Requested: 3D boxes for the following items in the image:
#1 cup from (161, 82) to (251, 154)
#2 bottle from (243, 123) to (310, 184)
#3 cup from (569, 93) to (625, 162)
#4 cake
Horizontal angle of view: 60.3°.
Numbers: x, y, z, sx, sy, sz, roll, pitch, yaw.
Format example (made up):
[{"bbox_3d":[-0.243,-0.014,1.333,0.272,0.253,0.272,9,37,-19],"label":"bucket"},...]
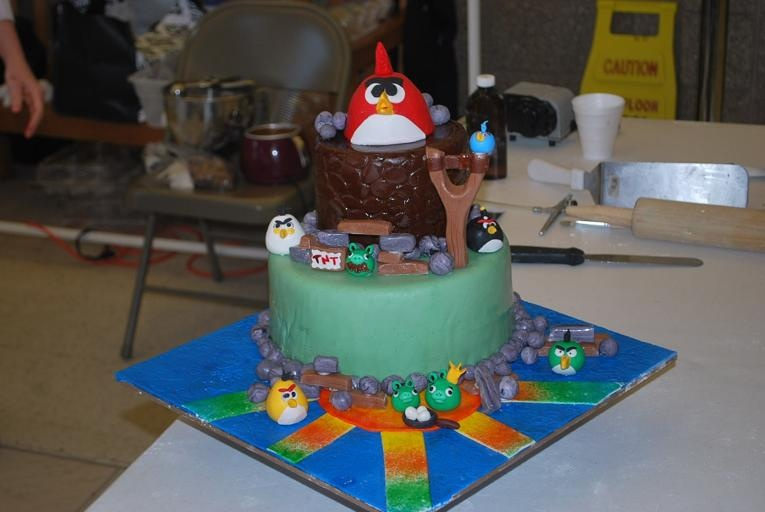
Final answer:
[{"bbox_3d":[-0.460,-0.367,1.765,0.164,0.148,0.207,4,12,23],"label":"cup"},{"bbox_3d":[-0.277,-0.272,1.765,0.202,0.132,0.160,11,24,21],"label":"bottle"},{"bbox_3d":[0.532,-0.328,1.683,0.164,0.184,0.162,-1,12,0],"label":"cup"},{"bbox_3d":[0.024,-0.074,1.099,0.454,0.505,0.474,-1,22,4],"label":"cake"}]
